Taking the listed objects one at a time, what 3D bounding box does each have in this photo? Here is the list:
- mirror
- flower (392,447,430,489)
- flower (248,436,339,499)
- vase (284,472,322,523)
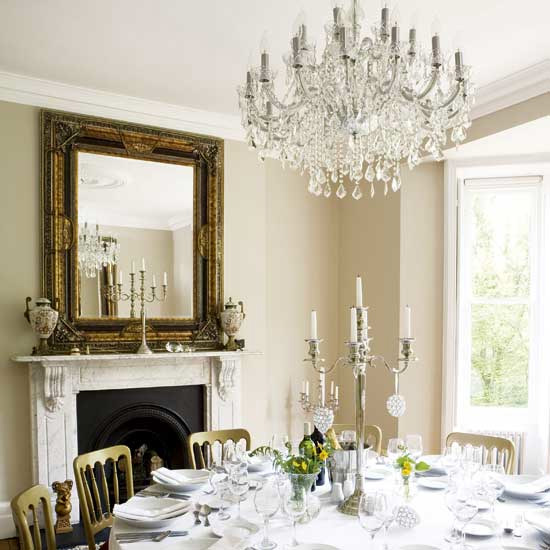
[{"bbox_3d":[-1.131,-0.349,4.696,0.183,2.147,1.438,-1,-2,44],"label":"mirror"},{"bbox_3d":[0.618,0.868,2.863,0.142,0.219,0.087,10,14,7],"label":"flower"},{"bbox_3d":[0.129,0.755,2.661,0.238,0.279,0.287,5,-11,-1],"label":"flower"},{"bbox_3d":[0.101,0.872,2.445,0.142,0.226,0.140,0,0,-43],"label":"vase"}]
